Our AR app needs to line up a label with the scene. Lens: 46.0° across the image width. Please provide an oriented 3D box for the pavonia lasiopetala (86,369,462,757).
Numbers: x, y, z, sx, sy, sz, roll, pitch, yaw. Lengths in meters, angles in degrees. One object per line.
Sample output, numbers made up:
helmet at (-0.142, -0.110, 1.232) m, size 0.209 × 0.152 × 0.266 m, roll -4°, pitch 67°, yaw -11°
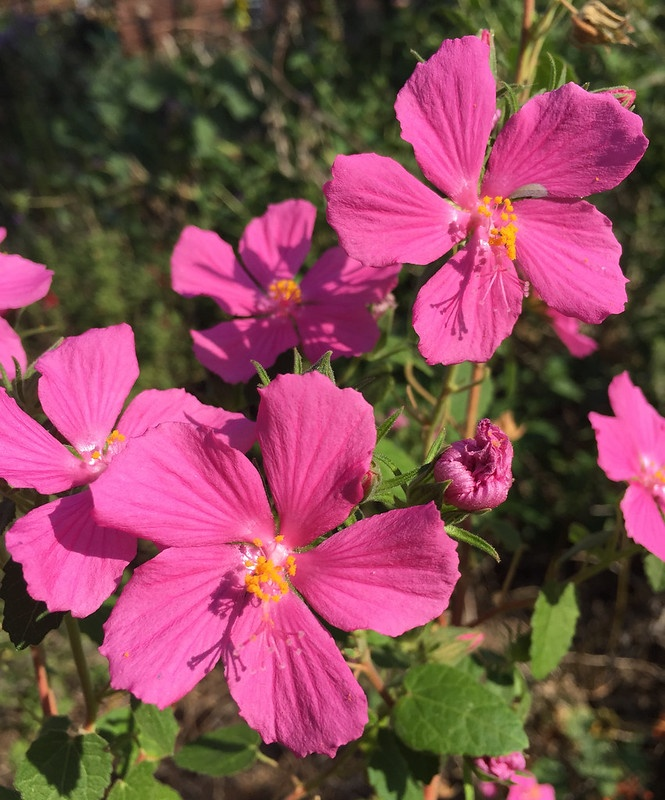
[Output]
pavonia lasiopetala at (-0.099, 0.275, 1.231) m, size 0.554 × 0.557 × 0.186 m, roll 8°, pitch 55°, yaw -38°

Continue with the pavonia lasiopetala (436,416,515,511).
pavonia lasiopetala at (0.244, 0.109, 1.327) m, size 0.141 × 0.071 × 0.138 m, roll 0°, pitch 69°, yaw 13°

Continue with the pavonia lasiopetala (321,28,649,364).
pavonia lasiopetala at (0.317, -0.346, 1.464) m, size 0.584 × 0.255 × 0.510 m, roll 26°, pitch 56°, yaw 9°

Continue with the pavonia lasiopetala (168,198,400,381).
pavonia lasiopetala at (-0.125, -0.206, 1.854) m, size 0.542 × 0.183 × 0.431 m, roll 14°, pitch 58°, yaw -18°
